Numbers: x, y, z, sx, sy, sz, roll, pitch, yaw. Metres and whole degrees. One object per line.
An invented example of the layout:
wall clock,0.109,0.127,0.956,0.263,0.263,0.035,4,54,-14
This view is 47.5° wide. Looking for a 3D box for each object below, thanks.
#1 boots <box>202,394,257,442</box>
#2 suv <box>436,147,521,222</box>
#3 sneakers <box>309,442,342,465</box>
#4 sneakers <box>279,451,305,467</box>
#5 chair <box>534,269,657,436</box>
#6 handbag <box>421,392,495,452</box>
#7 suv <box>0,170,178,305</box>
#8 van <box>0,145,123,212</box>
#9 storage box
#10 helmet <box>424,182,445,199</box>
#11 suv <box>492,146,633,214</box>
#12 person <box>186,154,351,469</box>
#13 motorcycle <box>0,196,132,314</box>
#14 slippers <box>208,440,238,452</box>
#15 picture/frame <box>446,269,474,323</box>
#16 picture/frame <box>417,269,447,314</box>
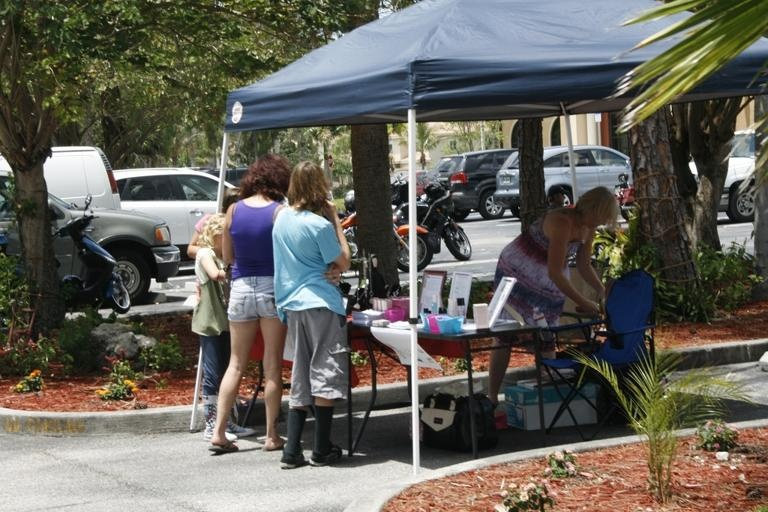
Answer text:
boots,-1.512,1.607,8.930,0.695,0.516,0.288,-2,5,-31
suv,2.785,-2.407,28.500,2.974,1.488,1.698,-11,10,-25
sneakers,-0.524,1.805,8.088,0.127,0.166,0.360,6,11,39
sneakers,-0.842,1.837,8.030,0.094,0.122,0.263,3,6,31
chair,2.117,0.947,8.581,0.934,1.517,1.015,7,-9,-36
handbag,0.716,1.522,8.342,0.507,0.518,0.661,3,-4,-39
suv,-4.973,-0.290,15.245,2.572,1.591,1.668,-8,4,-21
van,-6.201,-1.550,16.988,1.921,1.075,1.376,1,4,-8
storage box,1.606,1.511,8.997,0.582,0.421,0.831,-3,-4,-10
helmet,1.105,-1.421,18.889,0.440,0.314,0.429,-2,0,3
suv,5.527,-2.566,26.371,4.728,2.041,2.427,-10,9,-14
person,-0.948,0.472,8.173,1.352,2.035,0.465,-2,-1,33
motorcycle,-4.844,0.007,14.453,1.170,1.870,1.783,-1,-1,-19
slippers,-1.557,1.813,8.474,0.288,0.123,0.112,-3,6,-20
picture/frame,0.682,0.347,7.944,0.225,0.449,0.043,3,8,-8
picture/frame,0.450,0.314,8.254,0.249,0.327,0.349,-2,0,2
